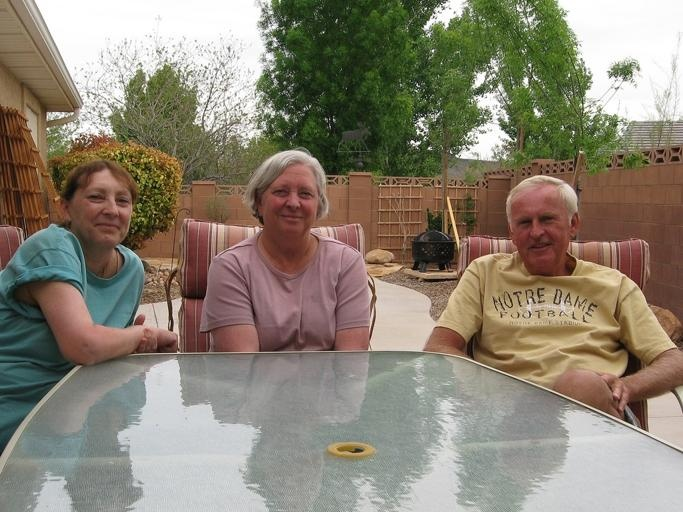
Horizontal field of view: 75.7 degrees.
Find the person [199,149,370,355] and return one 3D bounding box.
[{"bbox_3d":[-0.262,-0.037,2.145,0.799,0.973,0.439,2,3,-20],"label":"person"}]

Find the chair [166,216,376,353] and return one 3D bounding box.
[{"bbox_3d":[-0.586,0.068,3.316,1.150,1.214,0.961,0,-3,-7],"label":"chair"}]

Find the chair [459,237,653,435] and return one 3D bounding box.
[{"bbox_3d":[1.441,0.554,3.216,1.137,1.590,1.263,0,-8,5],"label":"chair"}]
